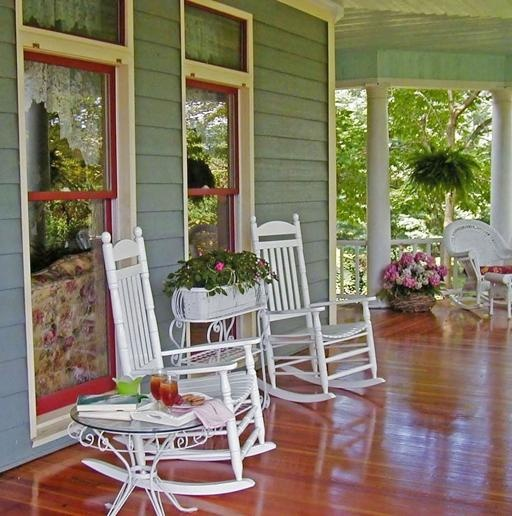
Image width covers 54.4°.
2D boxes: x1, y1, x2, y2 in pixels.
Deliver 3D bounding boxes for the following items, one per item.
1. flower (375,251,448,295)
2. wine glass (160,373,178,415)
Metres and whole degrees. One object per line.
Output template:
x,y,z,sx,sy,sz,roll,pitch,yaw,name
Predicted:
2.028,0.175,6.471,0.715,0.503,0.665,-6,7,-8,flower
-0.293,0.453,1.685,0.065,0.124,0.168,-6,6,-12,wine glass
